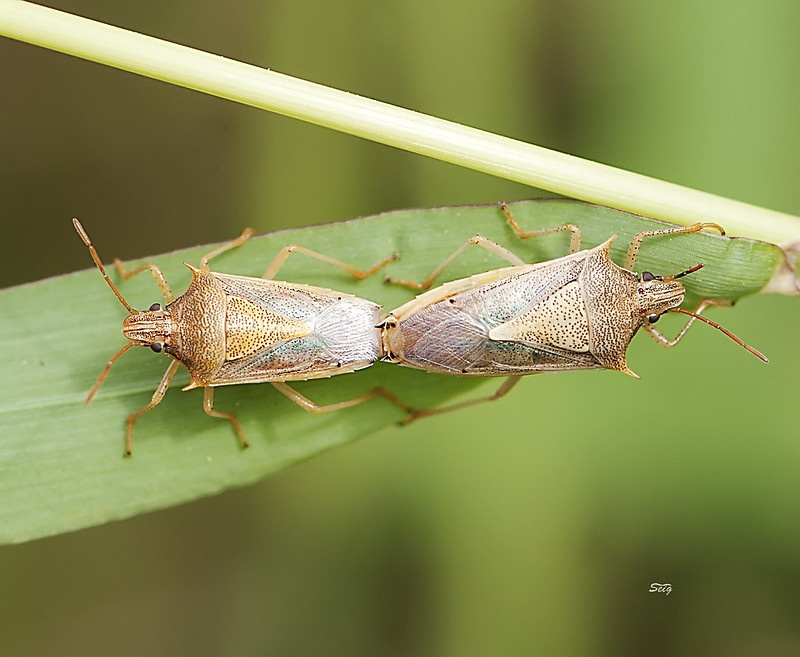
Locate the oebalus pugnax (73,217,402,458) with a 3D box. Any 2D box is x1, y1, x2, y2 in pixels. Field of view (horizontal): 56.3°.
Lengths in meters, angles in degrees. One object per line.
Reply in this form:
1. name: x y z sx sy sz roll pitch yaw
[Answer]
1. oebalus pugnax: -1.066 0.155 5.328 1.930 1.336 0.820 1 34 -4
